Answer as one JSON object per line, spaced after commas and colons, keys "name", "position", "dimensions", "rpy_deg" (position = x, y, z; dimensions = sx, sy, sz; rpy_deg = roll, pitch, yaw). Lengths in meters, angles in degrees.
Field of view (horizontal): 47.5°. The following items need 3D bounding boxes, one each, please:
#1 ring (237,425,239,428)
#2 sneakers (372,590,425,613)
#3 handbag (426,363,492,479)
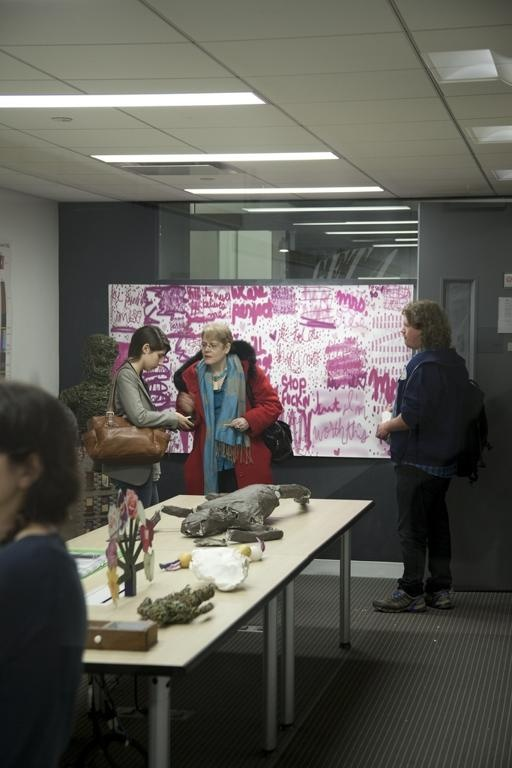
{"name": "ring", "position": [-0.097, 0.229, 3.136], "dimensions": [0.017, 0.016, 0.004], "rpy_deg": [-2, -3, -27]}
{"name": "sneakers", "position": [0.938, 1.431, 3.858], "dimensions": [0.374, 0.187, 0.138], "rpy_deg": [2, -1, -2]}
{"name": "handbag", "position": [1.171, 0.255, 3.757], "dimensions": [0.444, 0.816, 0.563], "rpy_deg": [4, -2, 8]}
